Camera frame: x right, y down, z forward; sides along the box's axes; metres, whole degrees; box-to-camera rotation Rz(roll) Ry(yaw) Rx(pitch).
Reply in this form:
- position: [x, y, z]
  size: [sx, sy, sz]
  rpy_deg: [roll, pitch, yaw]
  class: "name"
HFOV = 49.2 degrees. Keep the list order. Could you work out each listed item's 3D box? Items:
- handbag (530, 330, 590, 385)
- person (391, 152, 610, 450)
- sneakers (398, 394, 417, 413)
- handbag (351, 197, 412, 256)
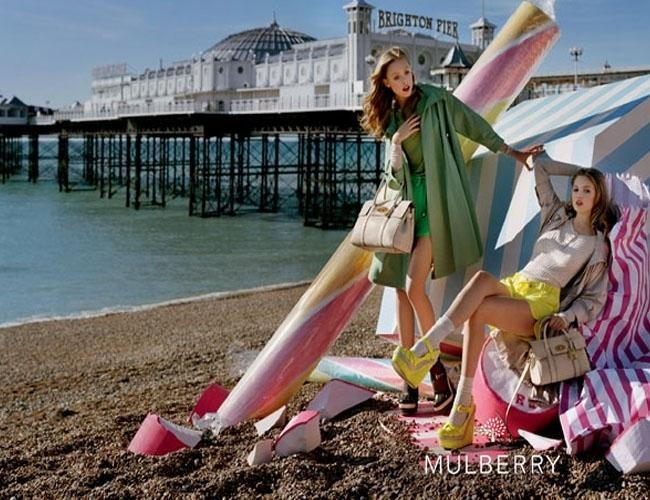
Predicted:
- position: [1.287, 0.587, 3.885]
  size: [0.206, 0.262, 0.106]
  rpy_deg: [-12, -1, -12]
  class: "handbag"
- position: [1.022, 0.264, 4.089]
  size: [1.327, 1.718, 0.720]
  rpy_deg: [-3, 16, -22]
  class: "person"
- position: [0.519, 0.953, 4.429]
  size: [0.068, 0.100, 0.210]
  rpy_deg: [-1, -8, 5]
  class: "sneakers"
- position: [0.359, -0.196, 4.311]
  size: [0.379, 0.452, 0.149]
  rpy_deg: [0, -23, 43]
  class: "handbag"
